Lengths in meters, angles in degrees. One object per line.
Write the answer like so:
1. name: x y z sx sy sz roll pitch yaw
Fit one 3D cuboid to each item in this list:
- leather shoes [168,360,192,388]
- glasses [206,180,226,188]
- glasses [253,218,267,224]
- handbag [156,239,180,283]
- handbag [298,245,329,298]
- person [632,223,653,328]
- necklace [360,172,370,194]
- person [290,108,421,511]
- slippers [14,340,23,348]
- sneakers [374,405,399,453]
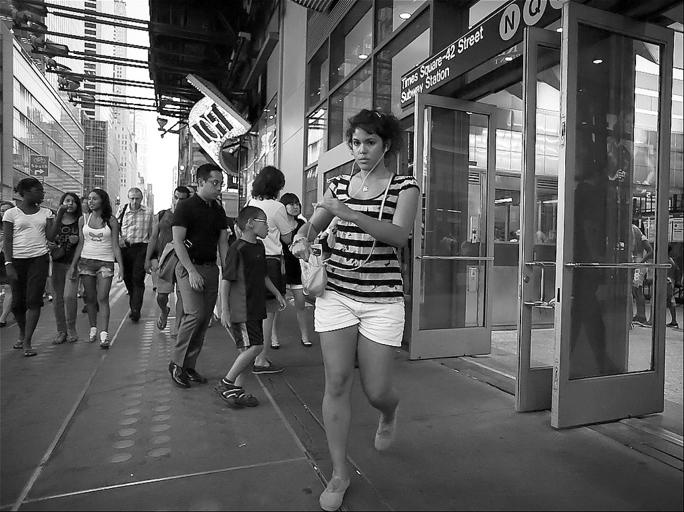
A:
1. leather shoes: -1.581 1.161 4.971 0.120 0.151 0.361 1 36 -49
2. glasses: -1.234 -0.696 4.885 0.187 0.067 0.188 2 0 38
3. glasses: -0.726 -0.309 4.623 0.075 0.049 0.196 2 6 16
4. handbag: -1.777 0.092 5.121 0.184 0.414 0.287 12 -14 -32
5. handbag: -0.180 0.106 3.157 0.219 0.337 0.149 8 10 43
6. person: 2.578 0.154 4.324 0.149 0.873 0.136 3 6 23
7. necklace: 0.147 -0.459 3.194 0.061 0.126 0.028 -3 -12 31
8. person: 0.087 0.310 3.235 0.774 2.456 0.570 -1 5 -13
9. slippers: -3.952 1.086 6.145 0.070 0.091 0.210 3 -6 -35
10. sneakers: 0.326 1.305 3.687 0.120 0.452 0.179 3 -13 34
